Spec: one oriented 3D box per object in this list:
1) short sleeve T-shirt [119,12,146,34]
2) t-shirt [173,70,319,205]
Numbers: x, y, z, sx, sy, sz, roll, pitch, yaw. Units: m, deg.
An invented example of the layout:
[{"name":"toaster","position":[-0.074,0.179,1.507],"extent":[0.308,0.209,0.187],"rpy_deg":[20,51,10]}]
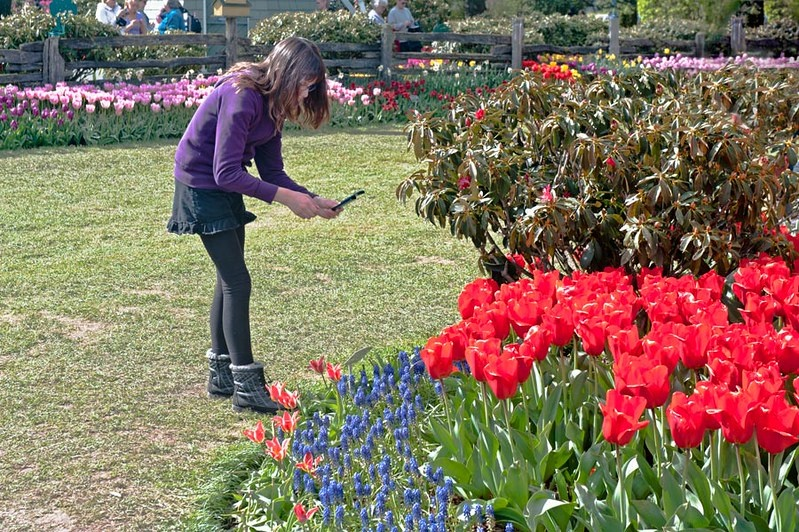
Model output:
[{"name":"short sleeve T-shirt","position":[-4.550,-4.072,19.132],"extent":[0.439,0.211,0.579],"rpy_deg":[5,8,-8]},{"name":"t-shirt","position":[-1.049,-0.863,7.435],"extent":[0.937,0.768,0.713],"rpy_deg":[20,18,3]}]
